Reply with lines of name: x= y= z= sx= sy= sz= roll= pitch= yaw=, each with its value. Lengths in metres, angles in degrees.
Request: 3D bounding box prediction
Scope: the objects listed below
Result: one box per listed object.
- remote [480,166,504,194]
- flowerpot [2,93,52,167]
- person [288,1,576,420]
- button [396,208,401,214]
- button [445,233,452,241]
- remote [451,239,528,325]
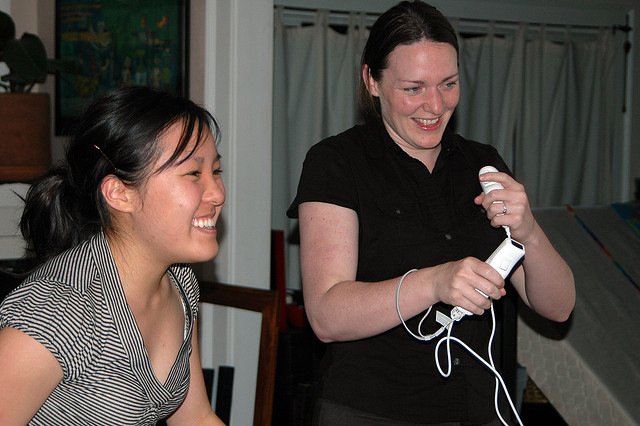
remote: x=0.512 y=-0.090 z=1.804 sx=0.035 sy=0.104 sz=0.042 roll=-30 pitch=-22 yaw=18
flowerpot: x=-1.163 y=-0.337 z=2.394 sx=0.171 sy=0.290 sz=0.132 roll=-1 pitch=10 yaw=-21
person: x=0.328 y=-0.008 z=1.859 sx=0.849 sy=1.285 sz=0.517 roll=2 pitch=9 yaw=-5
button: x=0.241 y=-0.006 z=1.846 sx=0.009 sy=0.013 sz=0.004 roll=-11 pitch=-8 yaw=-14
button: x=0.396 y=0.072 z=1.860 sx=0.022 sy=0.019 sz=0.007 roll=2 pitch=9 yaw=-3
remote: x=0.494 y=0.213 z=1.781 sx=0.163 sy=0.289 sz=0.303 roll=11 pitch=12 yaw=40
